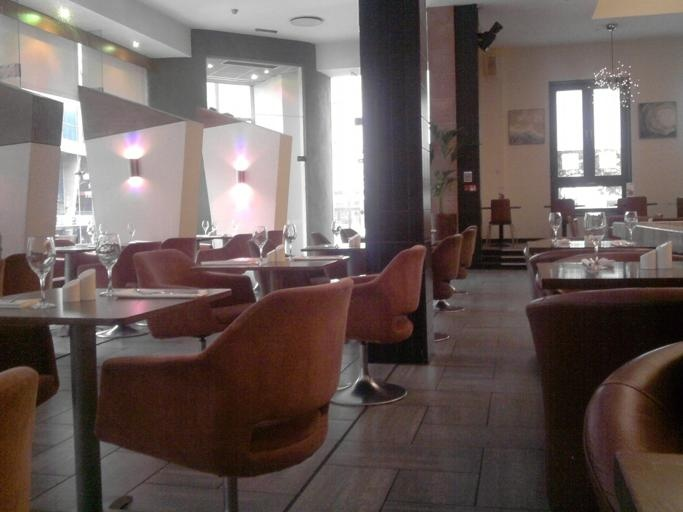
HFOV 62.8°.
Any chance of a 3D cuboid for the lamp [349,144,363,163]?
[{"bbox_3d":[0.329,-2.319,12.705,0.326,0.450,0.309,0,6,25],"label":"lamp"}]
